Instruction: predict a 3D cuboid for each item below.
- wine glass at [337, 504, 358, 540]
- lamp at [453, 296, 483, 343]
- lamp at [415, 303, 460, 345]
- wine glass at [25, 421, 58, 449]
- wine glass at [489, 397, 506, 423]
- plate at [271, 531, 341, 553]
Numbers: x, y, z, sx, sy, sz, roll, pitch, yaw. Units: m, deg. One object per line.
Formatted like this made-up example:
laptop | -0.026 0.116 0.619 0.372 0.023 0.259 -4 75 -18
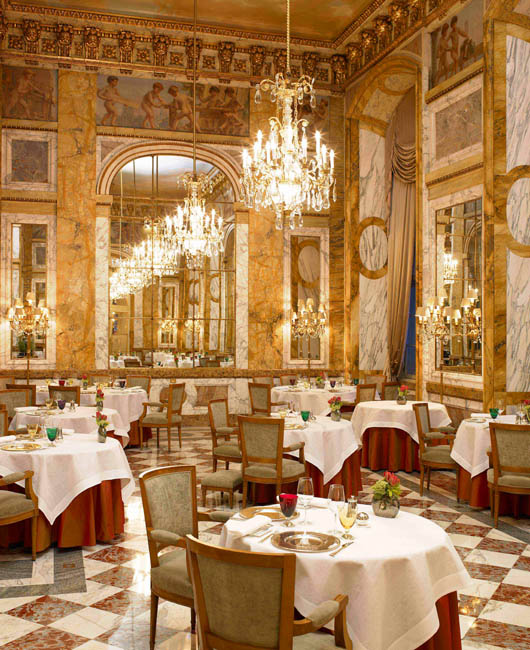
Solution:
wine glass | 0.353 0.835 2.491 0.071 0.175 0.314 0 -3 9
lamp | 2.732 -0.085 7.687 0.258 0.630 0.503 4 -6 -21
lamp | 2.395 -0.025 7.934 0.471 0.608 0.440 -1 -2 10
wine glass | -1.844 0.916 4.708 0.299 0.263 0.203 0 1 -14
wine glass | 2.604 0.960 6.410 0.131 0.276 0.154 2 -9 -7
plate | 0.166 0.903 2.392 0.280 0.017 0.316 0 -4 2
